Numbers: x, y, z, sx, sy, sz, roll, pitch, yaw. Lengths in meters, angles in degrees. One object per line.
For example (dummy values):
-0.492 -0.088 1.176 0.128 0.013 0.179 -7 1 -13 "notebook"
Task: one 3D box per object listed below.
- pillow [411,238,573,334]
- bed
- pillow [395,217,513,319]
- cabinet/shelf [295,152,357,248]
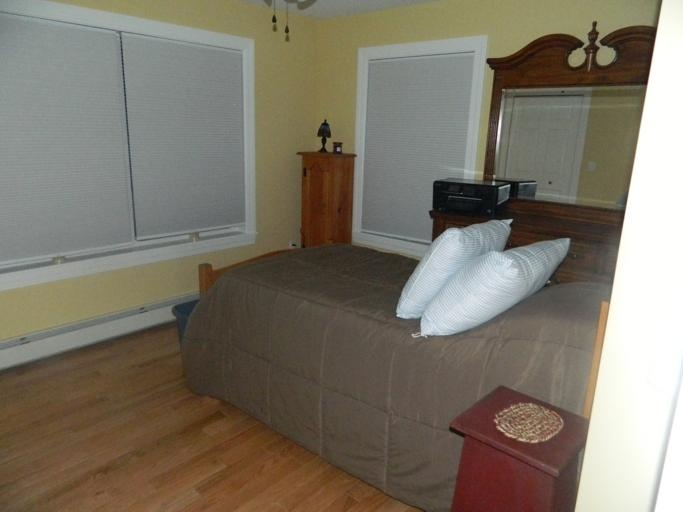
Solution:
0.741 0.158 2.244 0.703 0.438 0.355 -7 17 -24 "pillow"
0.139 0.371 2.535 1.893 0.851 1.256 17 22 40 "bed"
0.601 0.057 2.480 0.227 0.468 0.638 21 28 39 "pillow"
-0.145 -0.576 4.967 0.549 0.982 0.362 -1 16 -2 "cabinet/shelf"
